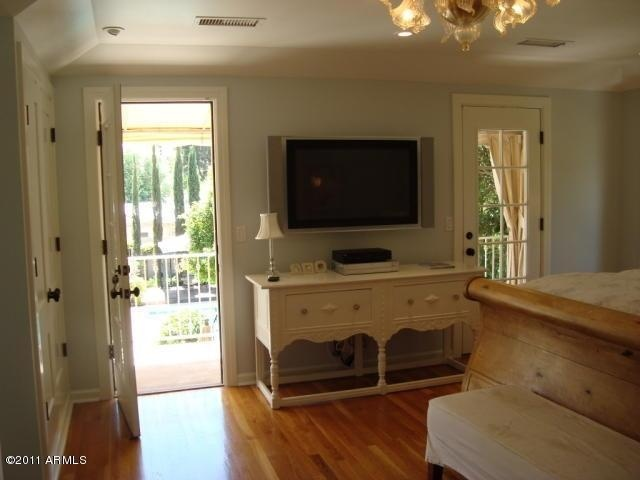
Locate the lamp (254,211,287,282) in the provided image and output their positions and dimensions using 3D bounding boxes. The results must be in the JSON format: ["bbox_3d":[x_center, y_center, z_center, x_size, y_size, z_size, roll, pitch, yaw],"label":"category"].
[{"bbox_3d":[-0.413,0.036,4.002,0.203,0.520,0.466,-2,7,-7],"label":"lamp"}]
